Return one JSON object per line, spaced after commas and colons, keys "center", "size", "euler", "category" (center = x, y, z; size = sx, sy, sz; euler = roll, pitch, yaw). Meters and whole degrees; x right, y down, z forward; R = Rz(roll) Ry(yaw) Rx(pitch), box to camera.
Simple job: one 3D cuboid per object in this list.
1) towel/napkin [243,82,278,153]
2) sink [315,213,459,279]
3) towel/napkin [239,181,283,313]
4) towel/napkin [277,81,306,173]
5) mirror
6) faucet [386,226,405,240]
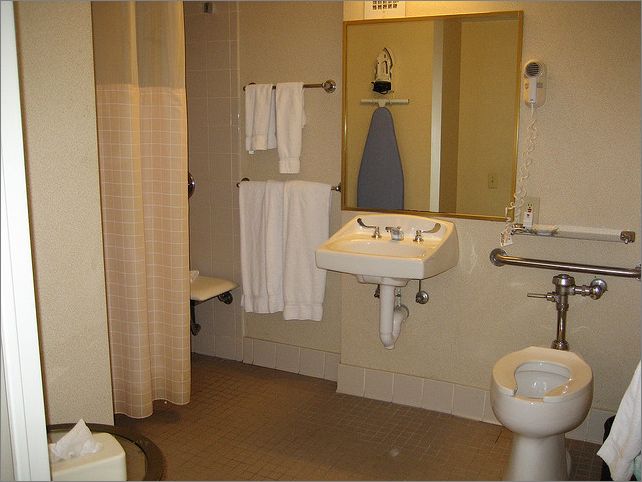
{"center": [-0.396, -0.786, 3.442], "size": [0.200, 0.412, 0.105], "euler": [2, 2, 20], "category": "towel/napkin"}
{"center": [0.360, 0.042, 2.882], "size": [0.677, 0.284, 0.547], "euler": [5, 14, 21], "category": "sink"}
{"center": [-0.397, 0.037, 3.503], "size": [0.403, 0.856, 0.142], "euler": [8, 15, 34], "category": "towel/napkin"}
{"center": [-0.194, -0.695, 3.379], "size": [0.181, 0.569, 0.136], "euler": [0, 12, -1], "category": "towel/napkin"}
{"center": [0.641, -0.708, 2.948], "size": [1.059, 1.225, 0.043], "euler": [4, 8, 23], "category": "mirror"}
{"center": [0.408, -0.041, 3.003], "size": [0.089, 0.070, 0.058], "euler": [0, 7, 19], "category": "faucet"}
